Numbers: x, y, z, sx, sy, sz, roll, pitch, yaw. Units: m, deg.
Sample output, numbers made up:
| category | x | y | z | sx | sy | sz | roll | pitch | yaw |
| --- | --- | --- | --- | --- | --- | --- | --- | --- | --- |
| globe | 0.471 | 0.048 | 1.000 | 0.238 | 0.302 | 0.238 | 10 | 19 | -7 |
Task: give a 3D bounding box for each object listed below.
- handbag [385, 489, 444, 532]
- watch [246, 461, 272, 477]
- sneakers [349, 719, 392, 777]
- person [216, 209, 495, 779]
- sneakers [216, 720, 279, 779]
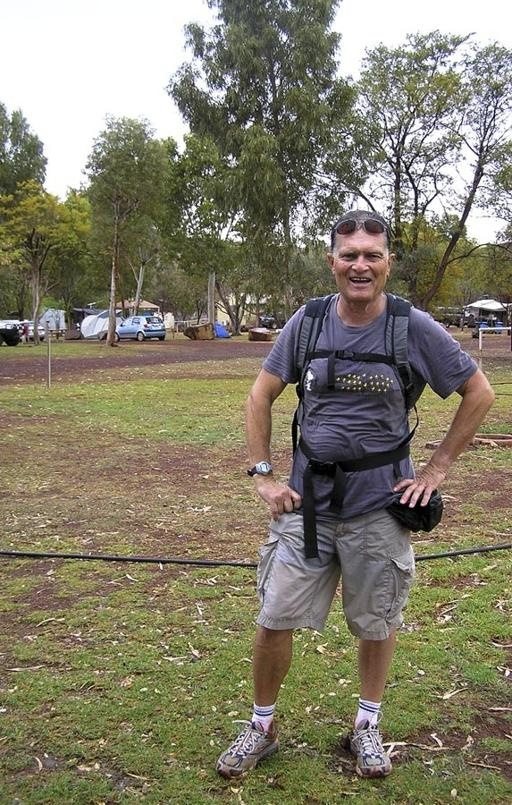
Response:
| category | x | y | z | sx | sy | sz | roll | pitch | yaw |
| --- | --- | --- | --- | --- | --- | --- | --- | --- | --- |
| handbag | 0.538 | 0.374 | 2.418 | 0.170 | 0.152 | 0.130 | 10 | 2 | 12 |
| watch | 0.011 | 0.245 | 2.486 | 0.073 | 0.047 | 0.067 | 5 | -22 | -22 |
| sneakers | 0.399 | 1.192 | 2.436 | 0.090 | 0.086 | 0.195 | -1 | -9 | 0 |
| person | 0.317 | 0.395 | 2.483 | 0.910 | 1.727 | 0.384 | 0 | 7 | 0 |
| sneakers | -0.019 | 1.201 | 2.495 | 0.097 | 0.118 | 0.271 | 21 | 1 | 31 |
